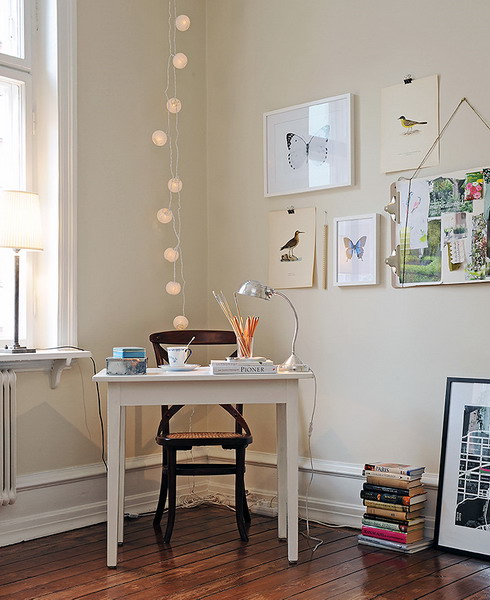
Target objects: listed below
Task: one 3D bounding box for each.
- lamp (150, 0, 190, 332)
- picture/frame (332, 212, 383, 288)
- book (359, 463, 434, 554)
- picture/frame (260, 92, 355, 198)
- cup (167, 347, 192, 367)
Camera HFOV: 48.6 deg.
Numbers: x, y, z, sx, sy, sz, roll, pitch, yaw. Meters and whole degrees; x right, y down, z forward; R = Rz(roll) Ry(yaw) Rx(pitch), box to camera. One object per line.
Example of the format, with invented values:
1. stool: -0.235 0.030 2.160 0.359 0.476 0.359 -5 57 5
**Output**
1. lamp: -0.382 -0.772 3.069 0.167 1.841 0.376 1 7 20
2. picture/frame: 0.542 -0.237 2.563 0.048 0.502 0.318 4 -5 -41
3. book: 0.592 0.827 2.350 0.283 0.413 0.319 5 -6 -43
4. picture/frame: 0.337 -0.787 2.758 0.556 0.520 0.043 2 5 43
5. cup: -0.251 0.216 2.065 0.075 0.065 0.066 4 -7 -26
